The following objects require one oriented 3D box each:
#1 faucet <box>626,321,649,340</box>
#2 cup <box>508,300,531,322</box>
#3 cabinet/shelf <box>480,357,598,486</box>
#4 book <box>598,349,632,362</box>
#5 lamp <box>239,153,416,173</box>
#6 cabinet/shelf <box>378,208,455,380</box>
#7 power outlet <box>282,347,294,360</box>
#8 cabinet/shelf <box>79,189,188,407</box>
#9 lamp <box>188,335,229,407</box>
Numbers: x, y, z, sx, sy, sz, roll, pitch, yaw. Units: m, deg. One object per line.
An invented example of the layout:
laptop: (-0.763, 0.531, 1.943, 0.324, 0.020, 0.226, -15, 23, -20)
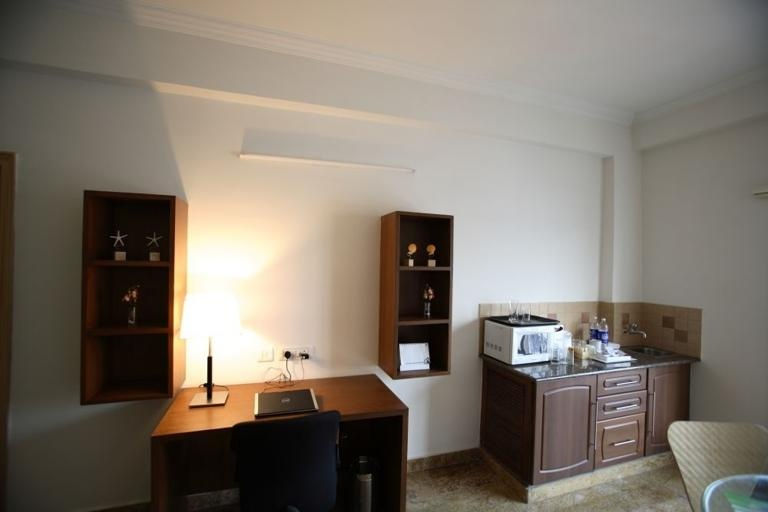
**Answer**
faucet: (2.732, 0.814, 6.048, 0.131, 0.174, 0.278, -1, 2, -14)
cup: (1.355, 0.556, 5.604, 0.217, 0.207, 0.458, -1, -3, 15)
cabinet/shelf: (1.433, 1.534, 5.544, 1.164, 1.229, 0.946, 1, -2, -23)
book: (2.289, 0.993, 5.511, 0.331, 0.105, 0.195, 1, -3, -24)
lamp: (-0.520, -0.869, 5.171, 1.648, 0.120, 0.052, 0, -3, -15)
cabinet/shelf: (0.297, 0.360, 5.253, 0.647, 1.524, 0.411, 0, -3, -20)
power outlet: (-0.879, 0.891, 5.079, 0.072, 0.102, 0.030, 6, -36, -22)
cabinet/shelf: (-2.090, 0.331, 4.648, 0.833, 1.721, 0.416, 0, -3, -21)
lamp: (-1.508, 0.976, 4.783, 0.326, 0.575, 0.335, 0, -3, -18)
